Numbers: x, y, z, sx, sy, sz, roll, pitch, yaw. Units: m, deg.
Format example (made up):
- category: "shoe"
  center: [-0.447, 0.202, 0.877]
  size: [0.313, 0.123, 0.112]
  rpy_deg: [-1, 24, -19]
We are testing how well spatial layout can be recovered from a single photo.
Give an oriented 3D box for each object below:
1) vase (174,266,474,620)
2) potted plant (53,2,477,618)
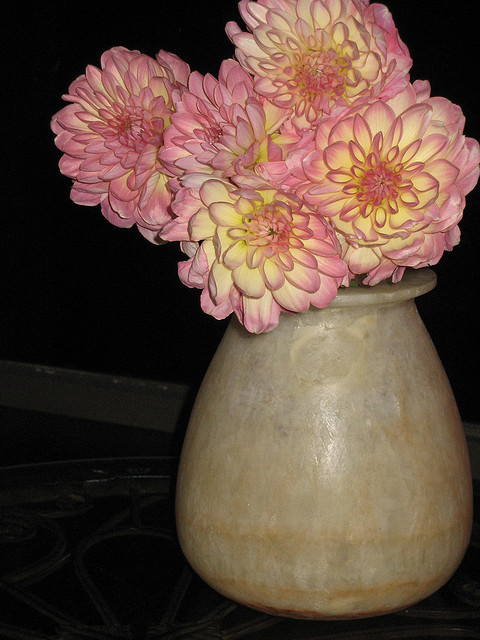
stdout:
- category: "vase"
  center: [0.063, 0.080, 0.569]
  size: [0.261, 0.227, 0.243]
  rpy_deg: [0, 8, -3]
- category: "potted plant"
  center: [0.039, 0.012, 0.455]
  size: [0.273, 0.401, 0.193]
  rpy_deg: [-6, 14, -22]
